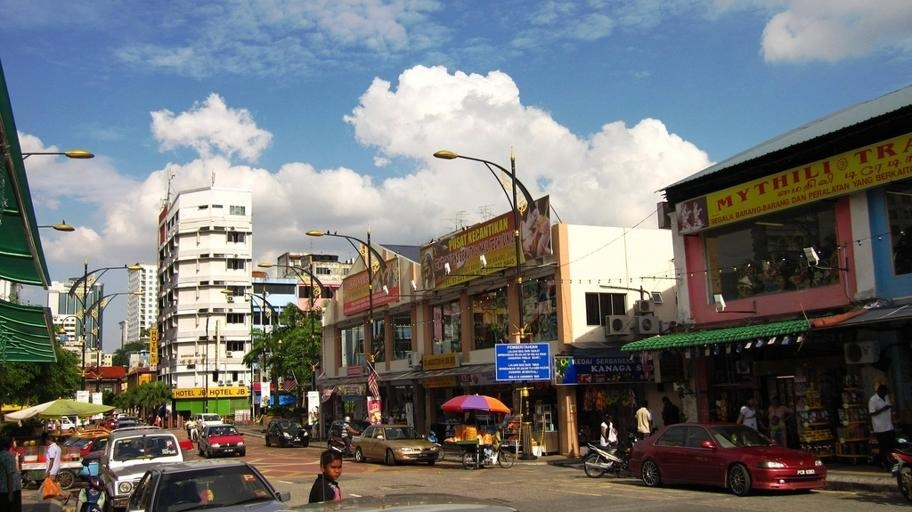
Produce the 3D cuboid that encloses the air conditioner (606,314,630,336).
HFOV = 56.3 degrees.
[{"bbox_3d":[8.705,3.810,46.447,1.166,0.890,0.358,2,-12,-18],"label":"air conditioner"}]

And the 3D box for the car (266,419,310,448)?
[{"bbox_3d":[-12.198,12.659,60.916,1.830,2.125,2.813,10,-20,-37],"label":"car"}]

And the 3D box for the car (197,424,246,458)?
[{"bbox_3d":[-14.587,11.449,52.972,2.521,2.218,3.320,3,-17,-19],"label":"car"}]

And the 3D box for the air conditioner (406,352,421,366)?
[{"bbox_3d":[-2.781,7.011,56.172,0.965,1.098,1.655,2,-13,-12],"label":"air conditioner"}]

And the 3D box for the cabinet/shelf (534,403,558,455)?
[{"bbox_3d":[4.836,9.378,46.247,1.360,2.613,0.550,8,-20,-32],"label":"cabinet/shelf"}]

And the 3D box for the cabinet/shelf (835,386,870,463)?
[{"bbox_3d":[16.891,7.120,36.345,1.411,3.120,0.729,-10,-18,22],"label":"cabinet/shelf"}]

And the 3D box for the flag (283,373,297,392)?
[{"bbox_3d":[-15.192,11.401,77.038,1.002,1.520,5.737,1,-16,-13],"label":"flag"}]

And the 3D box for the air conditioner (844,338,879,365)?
[{"bbox_3d":[17.247,4.130,36.226,1.838,1.157,0.992,-6,-12,41],"label":"air conditioner"}]

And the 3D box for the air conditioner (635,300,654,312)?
[{"bbox_3d":[10.391,2.815,47.241,1.224,0.792,0.618,1,-13,-7],"label":"air conditioner"}]

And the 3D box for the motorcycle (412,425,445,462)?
[{"bbox_3d":[-1.352,10.072,45.888,1.126,1.363,2.402,-18,6,-29],"label":"motorcycle"}]

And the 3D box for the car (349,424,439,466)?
[{"bbox_3d":[-3.565,10.372,47.081,3.197,1.851,6.180,3,-10,-32],"label":"car"}]

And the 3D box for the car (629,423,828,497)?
[{"bbox_3d":[10.269,7.980,32.962,7.380,2.599,1.935,-7,-11,29],"label":"car"}]

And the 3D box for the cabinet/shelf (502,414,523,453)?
[{"bbox_3d":[2.941,9.531,45.427,1.179,1.836,1.984,-7,-18,24],"label":"cabinet/shelf"}]
